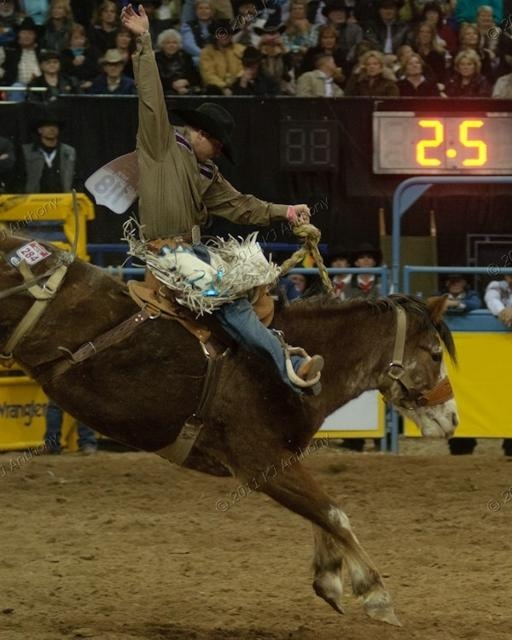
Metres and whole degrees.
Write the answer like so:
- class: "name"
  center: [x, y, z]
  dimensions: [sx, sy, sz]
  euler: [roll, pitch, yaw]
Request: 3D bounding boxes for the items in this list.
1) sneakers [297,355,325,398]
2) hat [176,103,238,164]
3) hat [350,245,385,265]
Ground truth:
- class: "sneakers"
  center: [0.284, 0.268, 3.958]
  dimensions: [0.169, 0.176, 0.077]
  euler: [5, 0, 34]
- class: "hat"
  center: [-0.243, -0.914, 4.010]
  dimensions: [0.266, 0.294, 0.508]
  euler: [1, 7, -2]
- class: "hat"
  center: [1.079, -0.642, 8.240]
  dimensions: [0.321, 0.103, 0.299]
  euler: [1, -24, -1]
